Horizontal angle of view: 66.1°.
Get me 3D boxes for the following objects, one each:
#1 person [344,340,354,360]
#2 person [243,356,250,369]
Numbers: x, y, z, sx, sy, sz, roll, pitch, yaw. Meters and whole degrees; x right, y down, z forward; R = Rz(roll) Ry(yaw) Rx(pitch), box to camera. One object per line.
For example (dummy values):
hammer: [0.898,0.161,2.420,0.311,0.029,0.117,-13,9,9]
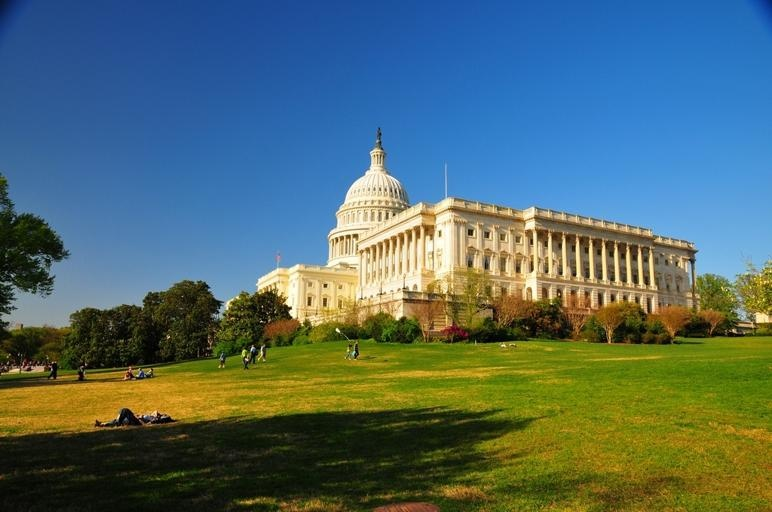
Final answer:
person: [-3.699,9.204,57.462,1.134,2.293,1.587,2,-27,-2]
person: [-11.901,9.133,50.301,0.507,1.076,2.095,2,-13,-10]
